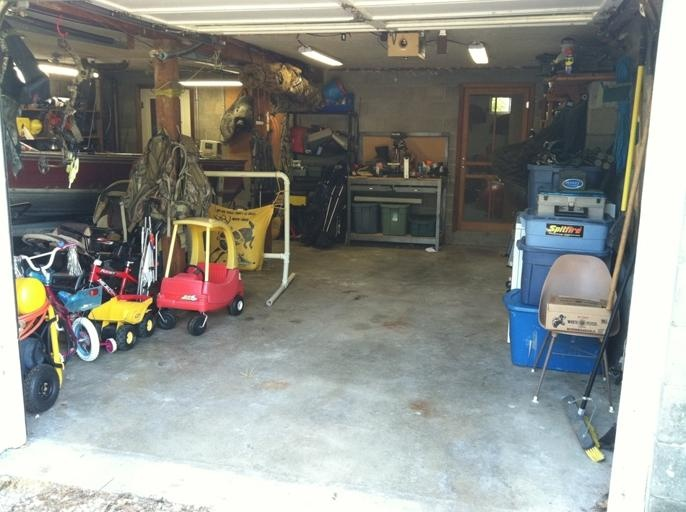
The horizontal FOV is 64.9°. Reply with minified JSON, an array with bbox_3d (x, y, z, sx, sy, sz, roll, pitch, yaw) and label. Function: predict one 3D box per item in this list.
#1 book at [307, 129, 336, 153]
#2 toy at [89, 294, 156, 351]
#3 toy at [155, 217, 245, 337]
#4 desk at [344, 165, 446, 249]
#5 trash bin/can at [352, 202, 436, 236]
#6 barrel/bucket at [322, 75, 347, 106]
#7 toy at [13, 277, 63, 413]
[{"bbox_3d":[-0.444,-2.104,9.977,0.448,0.441,0.134,8,12,5],"label":"book"},{"bbox_3d":[-1.938,0.575,4.779,0.424,0.356,0.531,3,12,6],"label":"toy"},{"bbox_3d":[-1.411,0.129,5.388,0.781,1.080,1.169,-1,14,-8],"label":"toy"},{"bbox_3d":[0.923,-0.740,9.488,2.023,1.489,1.162,1,4,12],"label":"desk"},{"bbox_3d":[0.839,-0.599,9.222,1.062,0.413,0.684,1,4,15],"label":"trash bin/can"},{"bbox_3d":[-0.176,-3.003,9.863,0.431,0.455,0.450,-17,13,4],"label":"barrel/bucket"},{"bbox_3d":[-2.024,0.600,3.614,0.261,0.715,0.634,-6,10,-28],"label":"toy"}]
